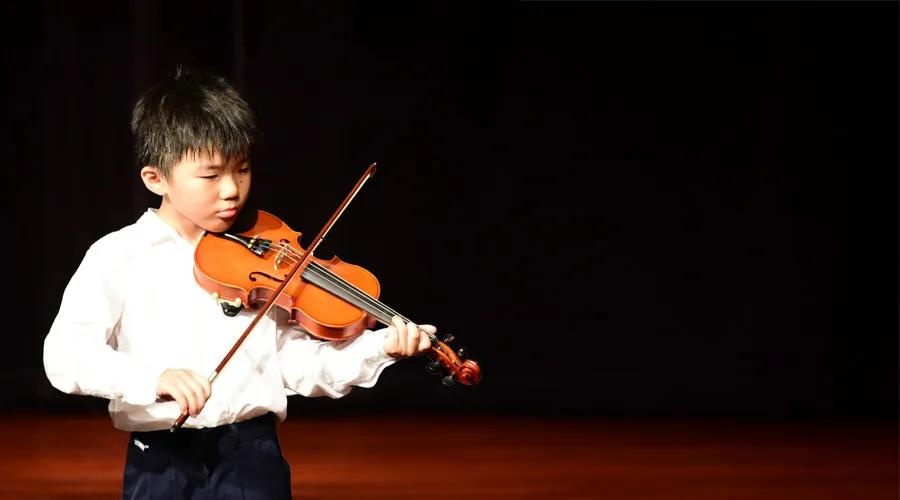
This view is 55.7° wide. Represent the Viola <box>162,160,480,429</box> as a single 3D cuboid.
[{"bbox_3d":[-0.708,0.287,4.123,1.942,0.676,0.410,28,-29,-2],"label":"Viola"}]

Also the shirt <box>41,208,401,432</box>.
[{"bbox_3d":[-0.537,0.341,4.143,1.538,0.770,0.389,17,-73,1],"label":"shirt"}]
